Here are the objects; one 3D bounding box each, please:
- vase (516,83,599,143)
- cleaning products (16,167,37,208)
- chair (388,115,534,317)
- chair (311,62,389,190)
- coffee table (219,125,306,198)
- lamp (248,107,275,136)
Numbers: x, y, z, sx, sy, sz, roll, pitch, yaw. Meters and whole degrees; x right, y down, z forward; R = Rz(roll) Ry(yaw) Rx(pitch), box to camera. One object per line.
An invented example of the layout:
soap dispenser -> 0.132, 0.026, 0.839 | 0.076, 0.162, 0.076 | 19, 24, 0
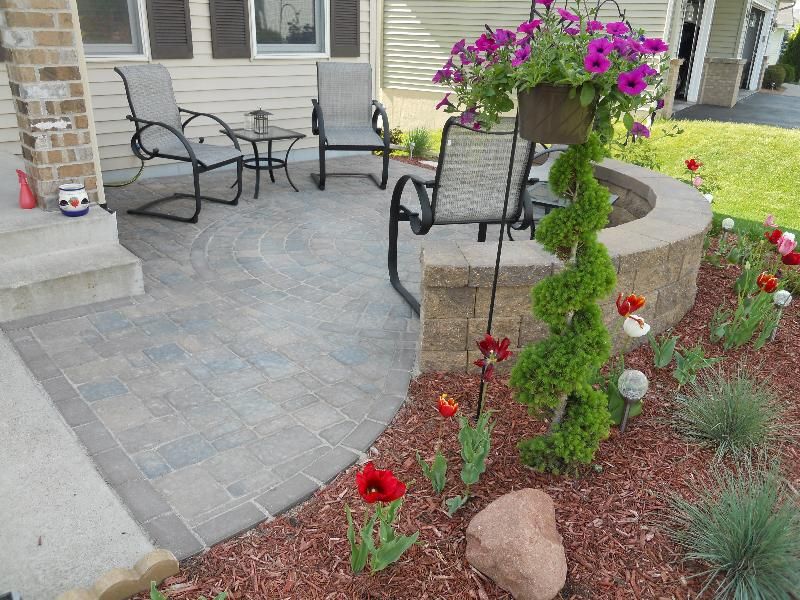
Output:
vase -> 0.599, -0.719, 2.177 | 0.257, 0.131, 0.232 | -1, 19, -5
cleaning products -> -2.927, -0.871, 4.357 | 0.130, 0.279, 0.362 | -19, 31, -30
chair -> 0.427, -0.701, 4.179 | 0.978, 1.352, 0.687 | -10, 29, -17
chair -> -0.681, -2.325, 7.365 | 0.976, 1.435, 1.568 | -3, 27, -4
coffee table -> -1.755, -1.711, 7.017 | 1.056, 0.854, 1.191 | -6, 38, -17
lamp -> -1.634, -2.077, 6.576 | 0.187, 0.245, 0.310 | 3, 26, 8
